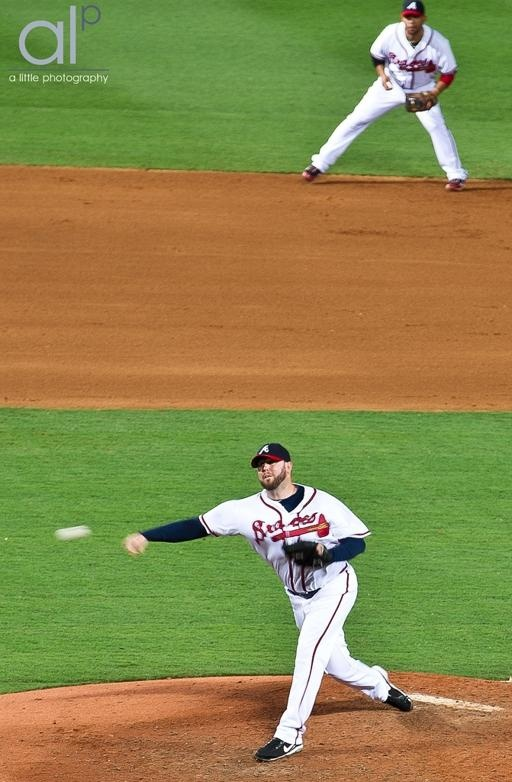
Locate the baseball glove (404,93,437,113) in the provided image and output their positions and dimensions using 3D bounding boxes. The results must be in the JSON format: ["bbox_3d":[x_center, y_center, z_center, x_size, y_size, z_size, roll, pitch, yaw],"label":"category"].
[{"bbox_3d":[1.722,-3.017,15.392,0.232,0.190,0.185,-15,32,-7],"label":"baseball glove"}]

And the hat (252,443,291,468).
[{"bbox_3d":[0.106,0.415,9.732,0.145,0.120,0.213,-15,-29,39],"label":"hat"}]

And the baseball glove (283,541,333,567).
[{"bbox_3d":[0.318,1.057,9.522,0.231,0.178,0.095,10,26,12],"label":"baseball glove"}]

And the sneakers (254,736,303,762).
[{"bbox_3d":[0.130,2.287,9.429,0.327,0.140,0.116,-5,6,-23],"label":"sneakers"}]

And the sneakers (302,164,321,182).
[{"bbox_3d":[0.633,-2.499,17.046,0.176,0.201,0.149,25,-19,-27],"label":"sneakers"}]
